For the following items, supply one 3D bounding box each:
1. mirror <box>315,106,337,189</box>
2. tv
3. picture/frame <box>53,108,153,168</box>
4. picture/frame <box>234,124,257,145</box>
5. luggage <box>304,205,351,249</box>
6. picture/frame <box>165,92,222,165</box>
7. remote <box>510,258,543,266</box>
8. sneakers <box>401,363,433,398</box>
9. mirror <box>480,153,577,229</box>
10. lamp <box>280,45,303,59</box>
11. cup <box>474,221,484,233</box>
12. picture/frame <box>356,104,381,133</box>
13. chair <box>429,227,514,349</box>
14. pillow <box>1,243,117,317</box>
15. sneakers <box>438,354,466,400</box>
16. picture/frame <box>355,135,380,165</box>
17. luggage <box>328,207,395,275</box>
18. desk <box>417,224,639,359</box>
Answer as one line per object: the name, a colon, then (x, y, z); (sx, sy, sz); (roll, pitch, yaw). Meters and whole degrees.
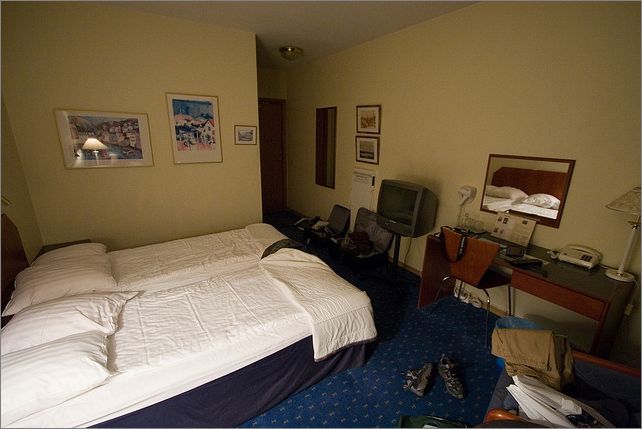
mirror: (0.068, -1.055, 6.390); (0.071, 1.248, 0.566); (-7, 19, -32)
tv: (1.035, -0.069, 5.014); (0.572, 0.552, 0.497); (18, 22, 35)
picture/frame: (-2.537, -0.884, 4.641); (0.724, 0.515, 0.015); (-8, 20, -26)
picture/frame: (-1.024, -1.075, 5.423); (0.277, 0.206, 0.010); (-7, 19, -35)
luggage: (0.147, 0.178, 6.180); (0.645, 0.563, 0.640); (-7, 22, -33)
picture/frame: (-1.617, -1.104, 5.074); (0.778, 1.034, 0.017); (-14, 25, -28)
remote: (1.995, 0.466, 3.940); (0.223, 0.041, 0.113); (-1, 11, 8)
sneakers: (0.917, 1.536, 3.856); (0.249, 0.227, 0.287); (10, 17, 21)
mirror: (2.183, -0.254, 4.216); (0.697, 0.584, 0.049); (20, 29, 38)
lamp: (-0.421, -2.293, 5.748); (0.349, 0.146, 0.332); (2, 16, -6)
cup: (1.740, 0.132, 4.502); (0.113, 0.082, 0.112); (-4, 14, 1)
picture/frame: (0.649, -1.306, 5.568); (0.047, 0.369, 0.426); (-14, 20, -38)
chair: (1.682, 0.686, 4.497); (0.763, 1.156, 0.786); (-14, 23, -37)
pillow: (-2.444, 0.592, 3.808); (0.556, 0.189, 0.872); (-11, 27, -20)
sneakers: (1.247, 1.524, 3.878); (0.239, 0.263, 0.363); (5, 16, 5)
picture/frame: (0.646, -0.905, 5.660); (0.043, 0.365, 0.418); (-18, 24, -39)
luggage: (0.515, 0.301, 5.513); (0.599, 0.631, 0.718); (-10, 26, -34)
desk: (1.990, 0.785, 4.199); (1.857, 0.931, 0.669); (17, 21, 39)
